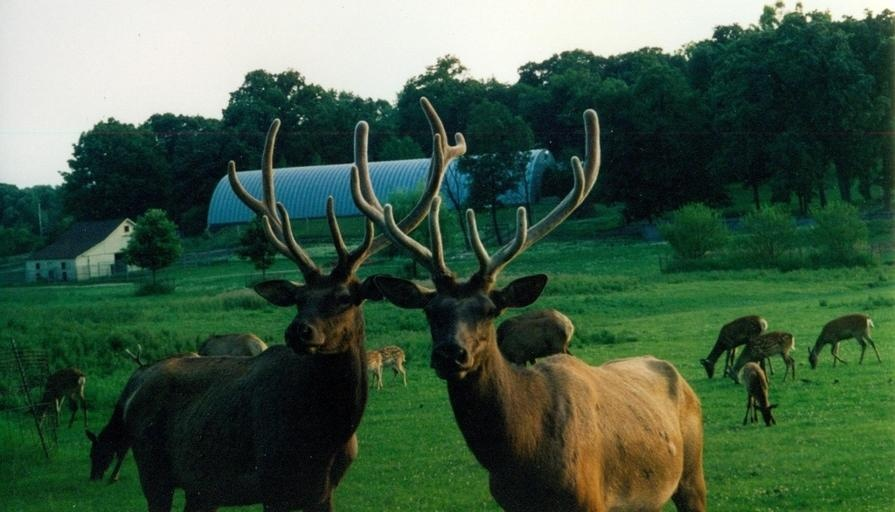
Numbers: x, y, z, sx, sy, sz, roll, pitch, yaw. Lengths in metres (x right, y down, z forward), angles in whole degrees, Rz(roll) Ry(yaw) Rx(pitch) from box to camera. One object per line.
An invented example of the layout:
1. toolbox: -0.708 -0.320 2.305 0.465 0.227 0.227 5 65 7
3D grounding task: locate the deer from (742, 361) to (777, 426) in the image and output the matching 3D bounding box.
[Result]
1. deer: 12.942 5.875 43.101 1.369 2.606 2.344 1 0 17

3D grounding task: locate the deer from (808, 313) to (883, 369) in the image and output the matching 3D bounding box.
1. deer: 17.909 3.872 45.918 3.148 2.266 0.911 -10 -4 9

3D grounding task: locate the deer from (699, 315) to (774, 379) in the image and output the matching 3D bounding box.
1. deer: 13.312 4.260 46.078 3.004 1.648 0.910 -42 1 -10
